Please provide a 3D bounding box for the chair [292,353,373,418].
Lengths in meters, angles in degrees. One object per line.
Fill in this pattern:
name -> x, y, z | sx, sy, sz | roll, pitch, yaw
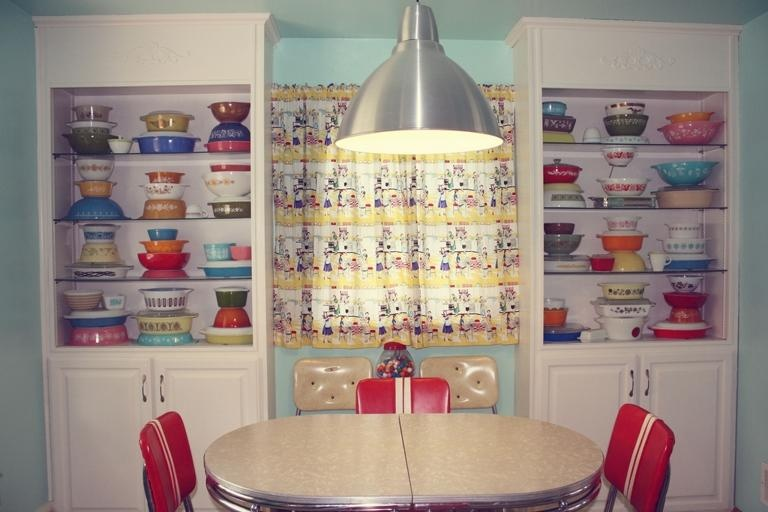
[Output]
chair -> -0.494, 0.956, 5.146 | 0.425, 0.586, 0.255 | 8, 25, -8

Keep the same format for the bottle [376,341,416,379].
bottle -> 0.074, 0.740, 4.965 | 0.257, 0.233, 0.345 | -2, 2, -2

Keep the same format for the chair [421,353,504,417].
chair -> 0.605, 0.899, 5.115 | 0.550, 0.371, 0.260 | -2, 10, 2

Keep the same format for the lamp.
lamp -> 0.135, -1.030, 4.269 | 0.942, 0.972, 0.948 | 0, -5, -7
